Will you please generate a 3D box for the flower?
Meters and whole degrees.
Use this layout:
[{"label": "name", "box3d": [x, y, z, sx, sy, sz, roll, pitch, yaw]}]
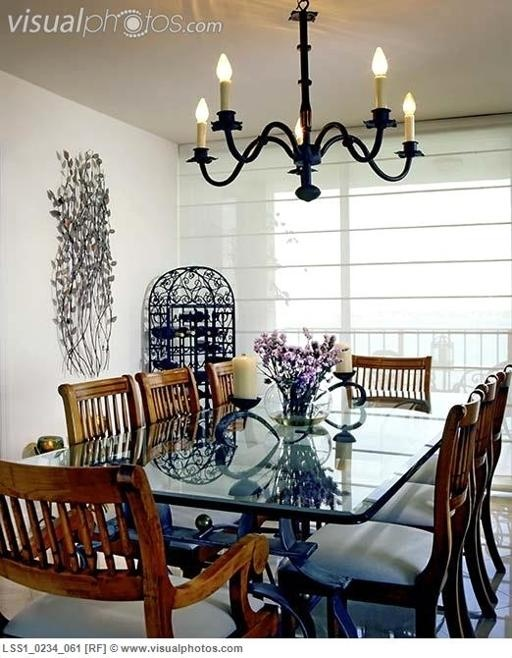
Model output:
[{"label": "flower", "box3d": [0.162, 0.171, 1.796, 0.186, 0.240, 0.230, -24, -38, 34]}]
